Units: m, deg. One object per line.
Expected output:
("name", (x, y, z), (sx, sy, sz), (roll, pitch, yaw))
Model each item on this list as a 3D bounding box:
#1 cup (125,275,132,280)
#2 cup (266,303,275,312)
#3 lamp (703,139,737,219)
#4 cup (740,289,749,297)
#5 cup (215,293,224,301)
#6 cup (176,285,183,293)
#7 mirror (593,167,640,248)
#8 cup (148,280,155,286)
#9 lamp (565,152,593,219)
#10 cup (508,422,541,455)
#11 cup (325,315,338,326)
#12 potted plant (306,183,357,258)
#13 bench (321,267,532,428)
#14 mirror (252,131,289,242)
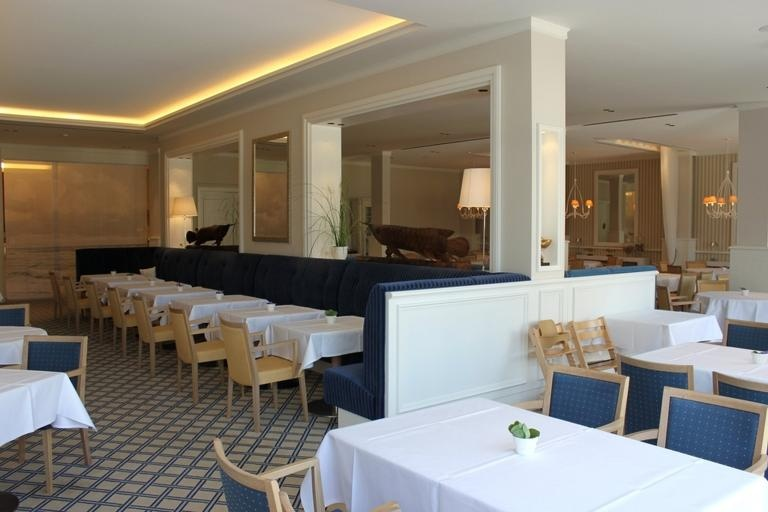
("cup", (-4.918, 0.417, 9.658), (0.075, 0.078, 0.072), (0, -1, 0))
("cup", (-1.408, 0.636, 6.232), (0.103, 0.071, 0.101), (2, 0, 0))
("lamp", (8.549, -1.880, 12.545), (0.834, 1.662, 0.810), (8, 9, 16))
("cup", (5.264, 0.532, 7.324), (0.116, 0.086, 0.107), (0, 5, 0))
("cup", (-2.334, 0.572, 7.115), (0.088, 0.103, 0.154), (1, -1, -10))
("cup", (-3.318, 0.529, 8.154), (0.091, 0.107, 0.162), (-3, 6, -26))
("mirror", (6.984, -1.477, 15.050), (0.151, 2.220, 1.255), (-5, 3, -43))
("cup", (-4.054, 0.466, 8.757), (0.103, 0.091, 0.098), (1, 6, 0))
("lamp", (6.043, -1.998, 15.754), (0.414, 1.656, 0.971), (-5, 2, -36))
("cup", (0.744, 0.962, 2.693), (0.168, 0.155, 0.176), (1, -10, 0))
("cup", (-0.579, 0.709, 5.553), (0.098, 0.068, 0.096), (2, 2, 0))
("potted plant", (-0.660, -0.414, 7.800), (0.933, 1.002, 0.671), (0, 4, -16))
("bench", (0.416, 0.974, 5.365), (2.092, 1.318, 1.092), (0, 1, -43))
("mirror", (-1.938, -1.121, 8.532), (0.233, 1.396, 1.244), (-5, 2, -35))
